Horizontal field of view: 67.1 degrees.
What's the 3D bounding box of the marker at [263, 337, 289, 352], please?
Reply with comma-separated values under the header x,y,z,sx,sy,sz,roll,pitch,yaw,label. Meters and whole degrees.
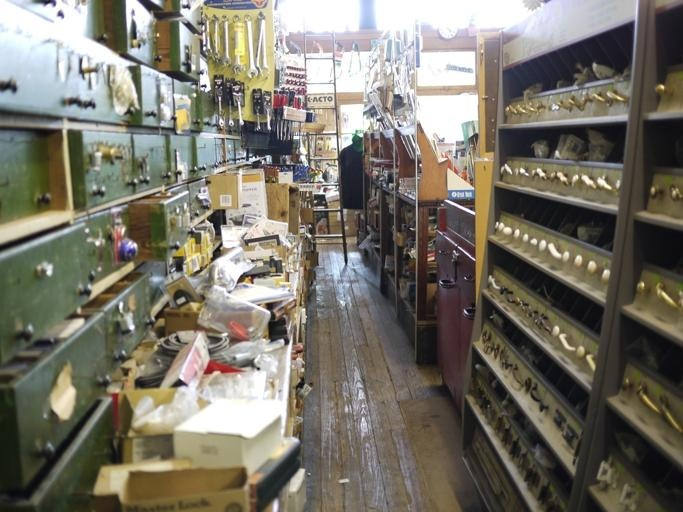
x,y,z,sx,sy,sz,roll,pitch,yaw,label
-0.316,0.429,2.460,0.029,0.042,0.141,6,2,21,marker
